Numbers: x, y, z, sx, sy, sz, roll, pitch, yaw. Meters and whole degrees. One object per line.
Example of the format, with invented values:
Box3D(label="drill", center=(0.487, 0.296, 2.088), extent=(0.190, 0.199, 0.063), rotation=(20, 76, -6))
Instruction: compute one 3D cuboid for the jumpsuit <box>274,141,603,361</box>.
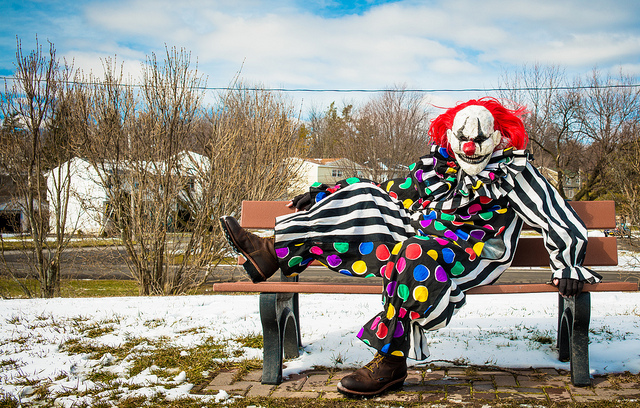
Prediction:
Box3D(label="jumpsuit", center=(1.351, 0.549, 8.763), extent=(3.556, 2.560, 0.598), rotation=(-3, -3, -3))
